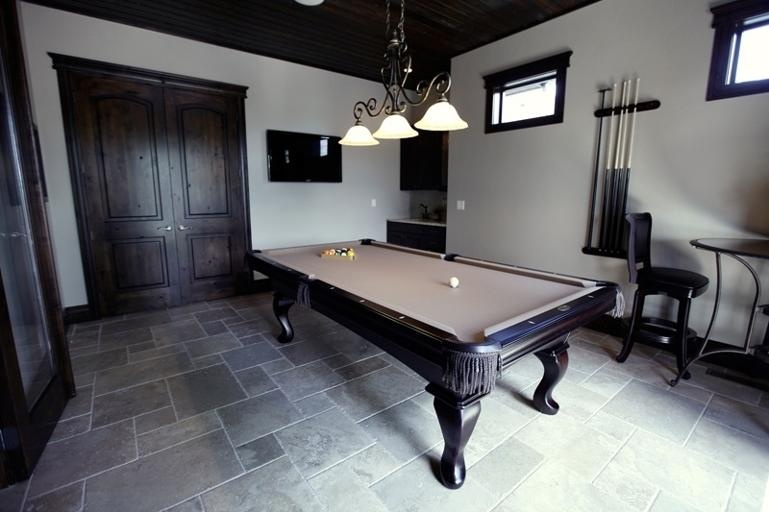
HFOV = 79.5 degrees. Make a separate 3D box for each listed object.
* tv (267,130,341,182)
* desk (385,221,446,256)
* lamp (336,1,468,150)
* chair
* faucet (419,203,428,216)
[{"bbox_3d":[-1.110,-1.367,6.507,1.094,0.677,0.104,-5,13,-31],"label":"tv"},{"bbox_3d":[0.491,-0.543,7.039,0.585,0.764,1.079,-4,7,-40],"label":"desk"},{"bbox_3d":[0.195,-2.185,5.482,1.884,1.911,0.475,0,11,14],"label":"lamp"},{"bbox_3d":[2.699,0.295,4.615,0.848,1.585,0.865,-11,15,-43],"label":"chair"},{"bbox_3d":[0.643,-0.745,7.616,0.062,0.218,0.241,-8,13,-23],"label":"faucet"}]
